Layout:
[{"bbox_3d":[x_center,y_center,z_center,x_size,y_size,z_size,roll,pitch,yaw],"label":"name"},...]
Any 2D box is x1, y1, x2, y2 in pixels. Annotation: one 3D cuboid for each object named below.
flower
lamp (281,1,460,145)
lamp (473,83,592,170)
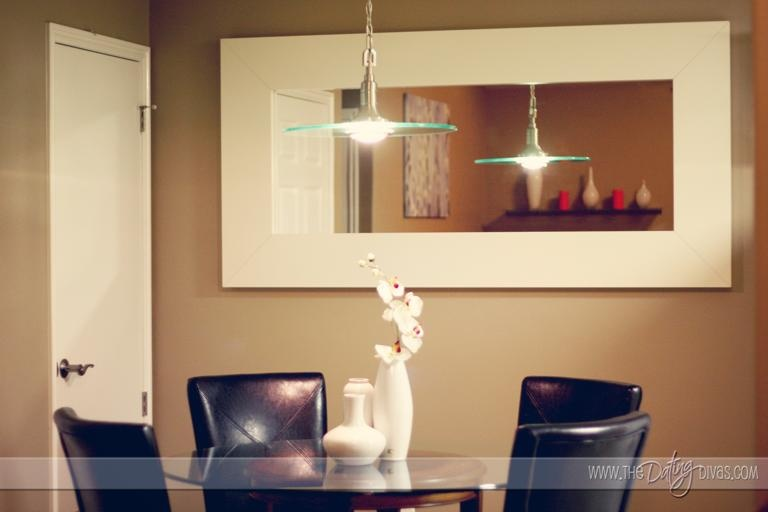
[{"bbox_3d":[0.025,0.243,3.334,0.271,0.496,0.207,-2,0,15],"label":"flower"},{"bbox_3d":[-0.065,-0.864,3.304,0.772,0.647,0.368,0,3,5],"label":"lamp"},{"bbox_3d":[0.904,-0.734,4.328,0.514,0.475,0.566,2,6,22],"label":"lamp"}]
